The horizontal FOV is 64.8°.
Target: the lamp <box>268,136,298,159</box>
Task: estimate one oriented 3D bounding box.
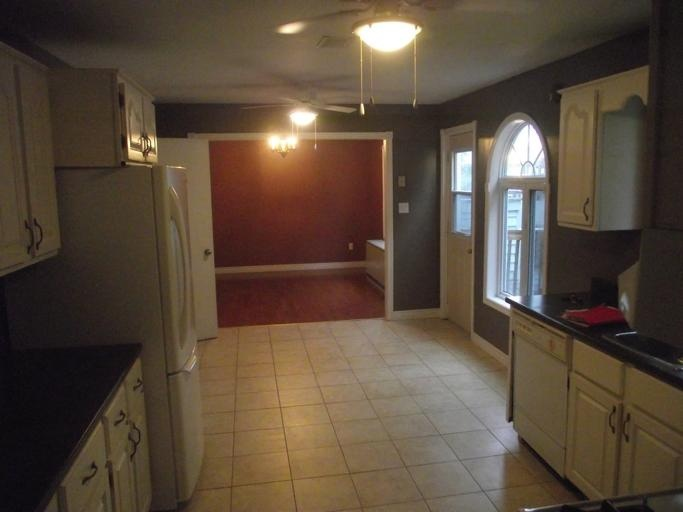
[{"bbox_3d":[-0.859,-1.556,7.720,0.480,0.324,0.487,-4,26,-9],"label":"lamp"}]

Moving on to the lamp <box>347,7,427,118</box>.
[{"bbox_3d":[0.239,-0.975,2.739,0.337,0.401,0.348,1,1,5],"label":"lamp"}]

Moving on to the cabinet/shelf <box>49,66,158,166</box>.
[{"bbox_3d":[-1.525,-0.961,3.385,0.411,0.581,1.062,0,26,-18],"label":"cabinet/shelf"}]

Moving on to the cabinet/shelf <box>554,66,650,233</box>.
[{"bbox_3d":[1.592,-0.630,3.330,0.532,0.956,0.418,6,15,29],"label":"cabinet/shelf"}]

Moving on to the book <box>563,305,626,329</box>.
[{"bbox_3d":[1.529,0.374,3.240,0.203,0.044,0.206,-3,6,-10],"label":"book"}]

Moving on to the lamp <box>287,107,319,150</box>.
[{"bbox_3d":[-0.349,-1.166,5.046,0.256,0.320,0.263,-1,2,13],"label":"lamp"}]
